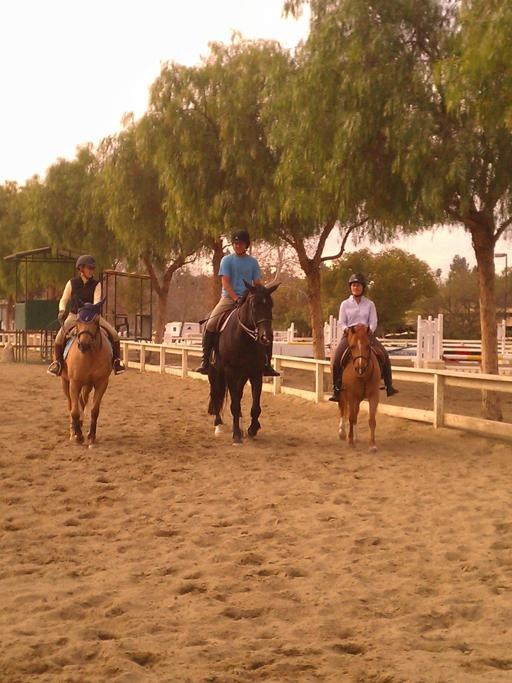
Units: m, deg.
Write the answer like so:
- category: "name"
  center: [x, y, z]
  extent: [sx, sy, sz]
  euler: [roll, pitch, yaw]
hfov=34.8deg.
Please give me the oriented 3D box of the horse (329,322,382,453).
- category: "horse"
  center: [1.227, 0.542, 9.684]
  extent: [0.496, 1.419, 1.509]
  euler: [1, -2, 7]

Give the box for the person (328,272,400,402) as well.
- category: "person"
  center: [1.299, -0.077, 9.871]
  extent: [0.603, 1.819, 0.690]
  euler: [-7, -26, 14]

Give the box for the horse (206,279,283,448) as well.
- category: "horse"
  center: [-0.165, 0.292, 9.629]
  extent: [0.708, 1.862, 1.889]
  euler: [2, -1, -4]

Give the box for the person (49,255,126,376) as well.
- category: "person"
  center: [-2.170, -0.257, 10.435]
  extent: [0.846, 1.147, 1.834]
  euler: [2, -41, -11]

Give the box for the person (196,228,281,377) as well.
- category: "person"
  center: [-0.231, -0.458, 9.802]
  extent: [0.728, 2.081, 0.817]
  euler: [-1, -33, 2]

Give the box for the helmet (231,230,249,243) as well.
- category: "helmet"
  center: [-0.183, -1.244, 9.747]
  extent: [0.203, 0.166, 0.265]
  euler: [3, -2, -2]

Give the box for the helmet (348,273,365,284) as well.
- category: "helmet"
  center: [1.223, -0.747, 9.859]
  extent: [0.175, 0.125, 0.359]
  euler: [2, -2, 9]

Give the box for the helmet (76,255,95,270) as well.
- category: "helmet"
  center: [-2.081, -0.961, 9.979]
  extent: [0.200, 0.271, 0.184]
  euler: [-3, 2, 25]

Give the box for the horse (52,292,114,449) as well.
- category: "horse"
  center: [-2.071, 0.429, 10.097]
  extent: [0.384, 1.689, 1.916]
  euler: [4, -3, -11]
